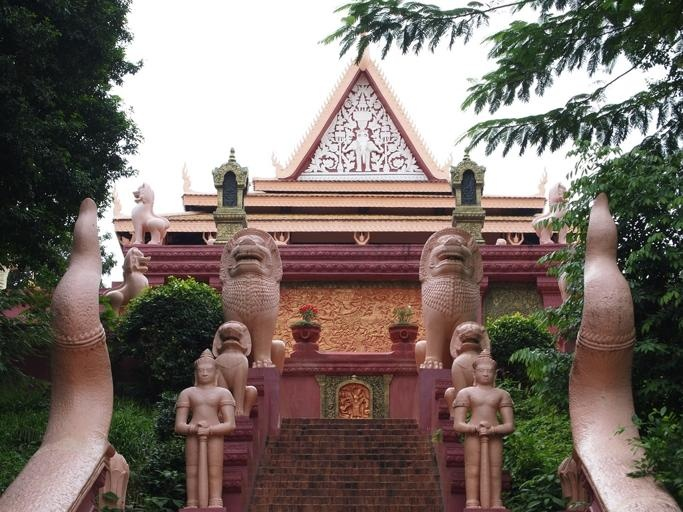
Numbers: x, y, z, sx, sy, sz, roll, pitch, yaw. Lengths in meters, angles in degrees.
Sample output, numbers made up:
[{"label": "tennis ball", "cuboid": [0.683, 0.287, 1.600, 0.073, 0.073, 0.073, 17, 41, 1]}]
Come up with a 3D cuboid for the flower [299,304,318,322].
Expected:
[{"label": "flower", "cuboid": [-0.517, 0.906, 17.085, 0.222, 0.251, 0.227, -14, 12, 31]}]

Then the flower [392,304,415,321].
[{"label": "flower", "cuboid": [0.982, 0.909, 16.665, 0.361, 0.423, 0.306, 1, -1, -3]}]

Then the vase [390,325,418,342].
[{"label": "vase", "cuboid": [0.938, 1.183, 16.484, 0.426, 0.296, 0.344, -1, -12, 10]}]

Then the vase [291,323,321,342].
[{"label": "vase", "cuboid": [-0.531, 1.168, 16.375, 0.454, 0.315, 0.313, 3, -11, -9]}]
